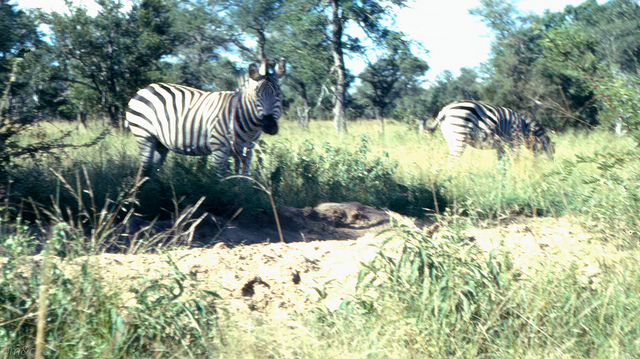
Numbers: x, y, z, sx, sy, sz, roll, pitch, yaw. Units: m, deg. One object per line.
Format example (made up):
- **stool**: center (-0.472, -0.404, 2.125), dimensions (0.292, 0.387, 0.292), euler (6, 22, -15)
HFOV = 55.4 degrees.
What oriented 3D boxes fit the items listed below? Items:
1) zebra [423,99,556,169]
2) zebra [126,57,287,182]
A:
- **zebra**: center (4.875, -1.167, 17.299), dimensions (4.033, 1.992, 1.027), euler (3, -5, -21)
- **zebra**: center (-2.640, -1.208, 14.316), dimensions (4.234, 2.777, 1.306), euler (0, 4, 26)
